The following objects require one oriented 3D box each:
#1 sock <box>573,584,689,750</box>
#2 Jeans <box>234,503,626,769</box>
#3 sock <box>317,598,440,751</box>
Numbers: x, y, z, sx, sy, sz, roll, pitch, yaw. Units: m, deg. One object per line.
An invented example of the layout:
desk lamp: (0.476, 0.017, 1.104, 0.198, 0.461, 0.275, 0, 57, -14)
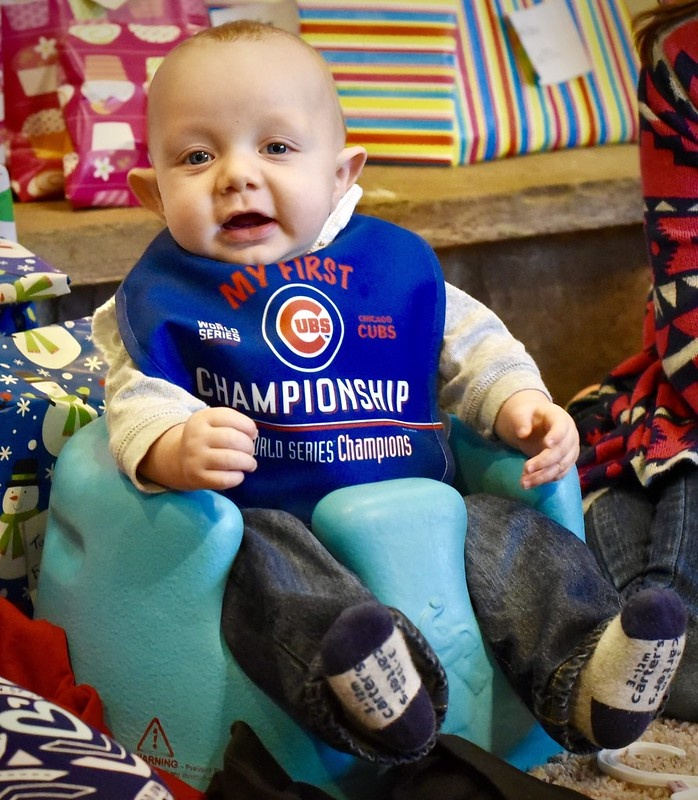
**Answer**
sock: (0.183, 0.189, 0.565, 0.071, 0.123, 0.049, -16, 44, -36)
Jeans: (0.011, 0.186, 0.669, 0.116, 0.287, 0.324, -33, -9, -25)
sock: (0.021, 0.188, 0.557, 0.075, 0.109, 0.041, -27, 21, 11)
